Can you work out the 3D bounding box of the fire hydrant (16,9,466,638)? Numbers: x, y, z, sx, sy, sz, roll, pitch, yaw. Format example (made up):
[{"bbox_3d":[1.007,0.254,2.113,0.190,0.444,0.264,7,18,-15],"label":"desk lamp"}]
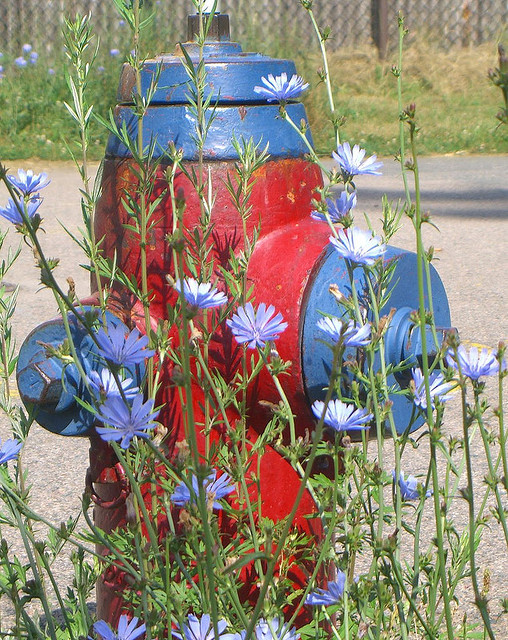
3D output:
[{"bbox_3d":[-0.041,0.084,3.479,0.817,1.268,1.008,-3,18,-2],"label":"fire hydrant"}]
